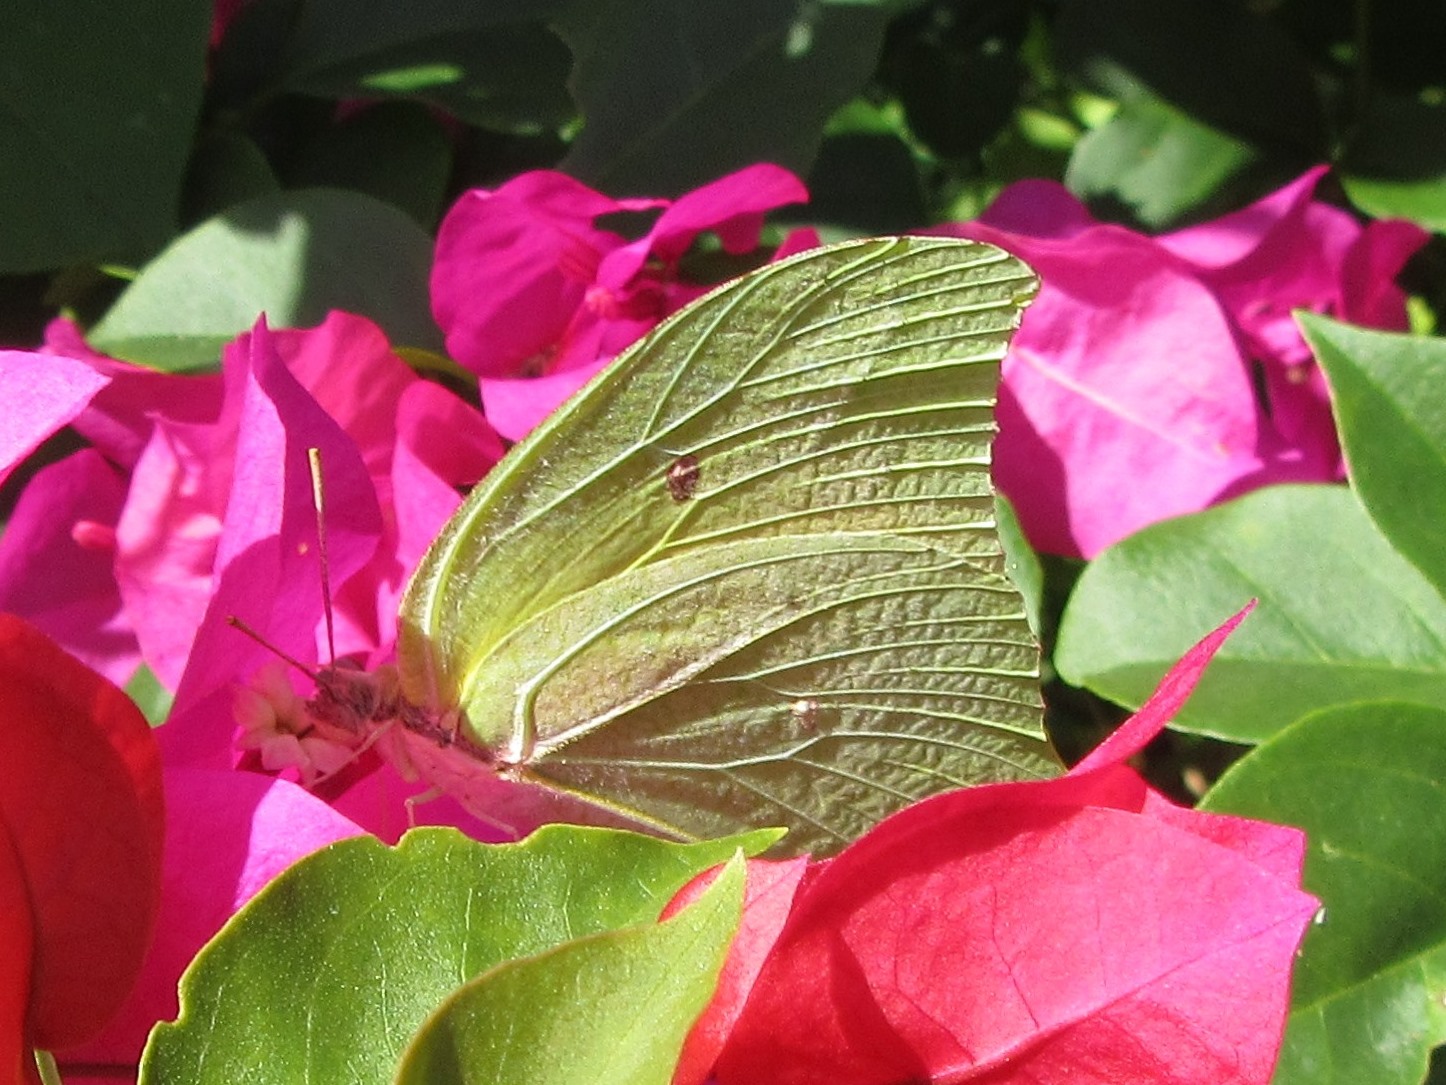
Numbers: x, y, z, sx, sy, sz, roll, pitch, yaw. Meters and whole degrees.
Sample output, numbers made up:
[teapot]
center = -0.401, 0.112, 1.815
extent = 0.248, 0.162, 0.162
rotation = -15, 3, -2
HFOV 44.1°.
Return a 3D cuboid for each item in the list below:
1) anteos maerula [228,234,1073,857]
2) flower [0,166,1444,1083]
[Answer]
[anteos maerula]
center = -0.062, 0.013, 1.005
extent = 0.452, 0.284, 0.440
rotation = 2, -8, -45
[flower]
center = 0.010, 0.053, 0.794
extent = 0.457, 0.241, 0.472
rotation = 5, 34, 17
